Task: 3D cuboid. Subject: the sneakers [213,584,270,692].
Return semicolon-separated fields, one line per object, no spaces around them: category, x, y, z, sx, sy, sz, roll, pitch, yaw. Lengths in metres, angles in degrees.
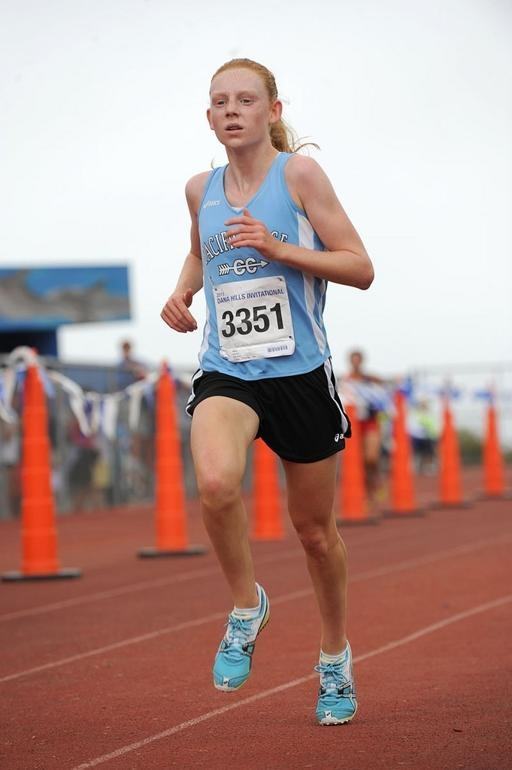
sneakers;-0.004;0.595;1.992;0.105;0.298;0.132;10;-28;7

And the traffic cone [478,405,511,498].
traffic cone;1.625;0.452;5.699;0.156;0.659;0.287;-3;-5;15

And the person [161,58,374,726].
person;0.030;0.011;2.073;0.543;1.733;0.565;-1;-5;-7

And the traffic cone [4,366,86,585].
traffic cone;-0.986;0.377;3.682;0.337;0.974;0.492;0;-5;-15

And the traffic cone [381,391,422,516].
traffic cone;1.279;0.599;7.394;0.239;1.133;0.661;-2;-5;8

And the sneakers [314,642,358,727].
sneakers;0.203;0.794;2.116;0.071;0.096;0.223;-3;6;7
